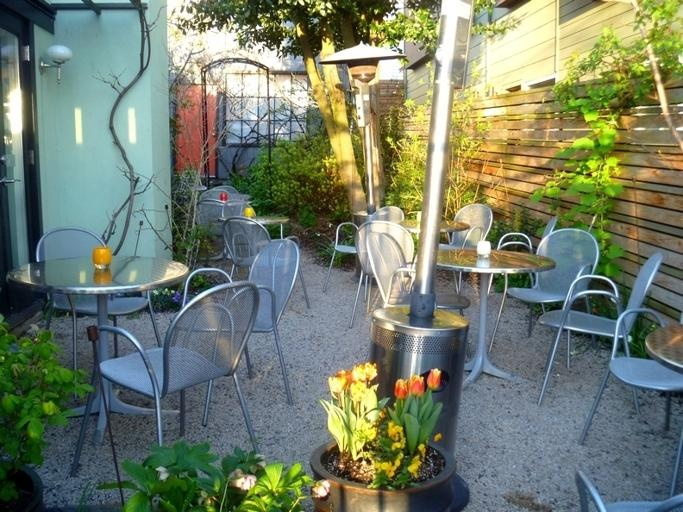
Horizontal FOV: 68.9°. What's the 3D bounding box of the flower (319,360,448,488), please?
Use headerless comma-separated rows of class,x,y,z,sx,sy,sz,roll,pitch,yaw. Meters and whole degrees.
flower,0.130,0.484,1.597,0.344,0.277,0.352,-3,11,-25

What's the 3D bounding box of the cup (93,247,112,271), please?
cup,-1.429,0.014,3.042,0.136,0.154,0.135,4,11,-1

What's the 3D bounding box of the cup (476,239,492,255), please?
cup,1.024,-0.075,3.569,0.103,0.114,0.110,-1,9,0
